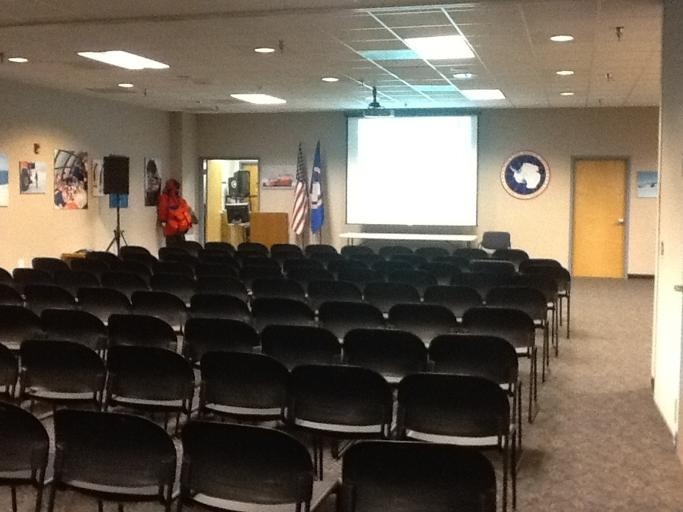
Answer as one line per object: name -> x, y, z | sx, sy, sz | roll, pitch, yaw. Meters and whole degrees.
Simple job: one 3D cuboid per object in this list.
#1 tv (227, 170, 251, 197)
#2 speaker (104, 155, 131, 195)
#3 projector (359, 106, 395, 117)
tv -> -2.839, -1.974, 16.853 | 0.597, 0.777, 0.472 | 9, 9, -8
speaker -> -4.524, -1.629, 12.235 | 0.471, 0.751, 0.205 | 3, 11, -34
projector -> 0.629, -2.598, 11.015 | 0.325, 0.128, 0.370 | 2, 4, 15
